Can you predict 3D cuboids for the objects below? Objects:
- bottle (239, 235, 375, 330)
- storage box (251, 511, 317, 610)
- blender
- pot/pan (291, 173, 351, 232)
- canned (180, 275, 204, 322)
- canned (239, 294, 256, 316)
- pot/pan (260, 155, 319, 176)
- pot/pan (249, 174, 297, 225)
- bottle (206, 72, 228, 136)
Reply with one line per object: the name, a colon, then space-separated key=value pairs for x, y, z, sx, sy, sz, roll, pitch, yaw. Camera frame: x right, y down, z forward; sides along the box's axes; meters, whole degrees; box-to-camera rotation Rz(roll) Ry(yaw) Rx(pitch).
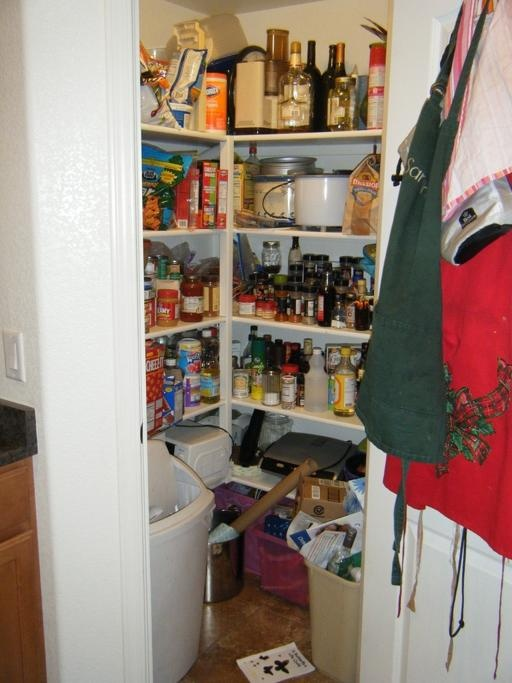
bottle: x=0.164 y=-0.242 z=2.118 sx=0.652 sy=0.326 sz=0.241 roll=10 pitch=13 yaw=43
storage box: x=0.048 y=0.733 z=1.905 sx=0.097 sy=0.312 sz=0.304 roll=-8 pitch=13 yaw=-44
blender: x=0.006 y=-0.920 z=2.016 sx=0.167 sy=0.326 sz=0.191 roll=10 pitch=24 yaw=22
pot/pan: x=0.222 y=-0.478 z=1.922 sx=0.191 sy=0.144 sz=0.194 roll=2 pitch=16 yaw=6
canned: x=-0.233 y=-0.154 z=2.022 sx=0.080 sy=0.163 sz=0.053 roll=-2 pitch=10 yaw=-18
canned: x=-0.036 y=-0.141 z=2.177 sx=0.073 sy=0.080 sz=0.074 roll=1 pitch=7 yaw=-4
pot/pan: x=0.115 y=-0.646 z=2.052 sx=0.197 sy=0.085 sz=0.106 roll=1 pitch=10 yaw=-1
pot/pan: x=0.066 y=-0.519 z=2.072 sx=0.170 sy=0.168 sz=0.172 roll=-5 pitch=11 yaw=-24
bottle: x=-0.140 y=-0.833 z=1.958 sx=0.084 sy=0.192 sz=0.047 roll=-2 pitch=10 yaw=-17
